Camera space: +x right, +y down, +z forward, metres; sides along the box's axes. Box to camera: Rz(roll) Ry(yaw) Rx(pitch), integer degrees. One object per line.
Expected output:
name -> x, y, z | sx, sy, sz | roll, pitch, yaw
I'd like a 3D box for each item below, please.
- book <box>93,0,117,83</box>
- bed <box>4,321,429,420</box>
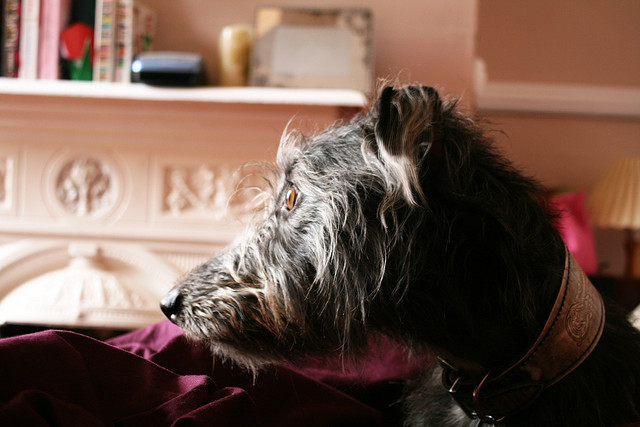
book -> -0.798, -0.639, 2.489 | 0.116, 0.293, 0.031 | -6, 10, -16
bed -> -0.335, 0.481, 1.930 | 0.748, 0.179, 0.552 | 4, -8, -10
